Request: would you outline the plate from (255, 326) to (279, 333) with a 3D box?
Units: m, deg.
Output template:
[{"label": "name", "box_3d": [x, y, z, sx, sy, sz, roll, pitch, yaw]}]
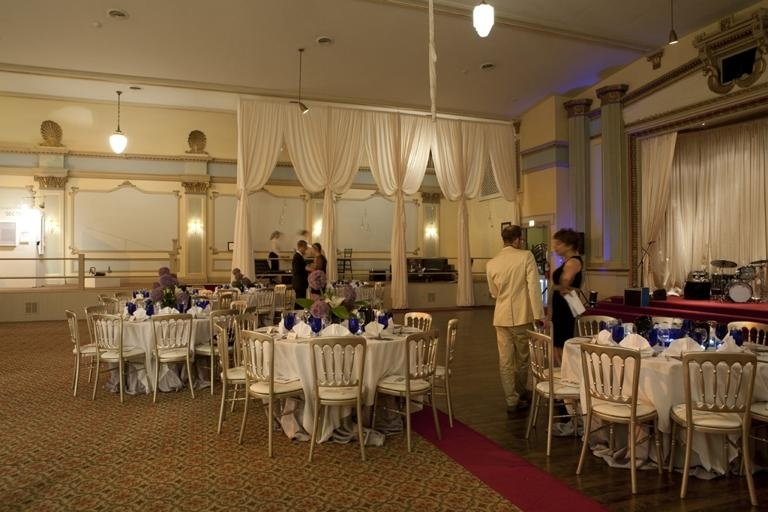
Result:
[{"label": "plate", "box_3d": [-1.529, 0.964, 7.163, 0.180, 0.048, 0.187, -2, -4, 39]}]

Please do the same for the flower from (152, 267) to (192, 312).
[{"label": "flower", "box_3d": [-3.197, 0.532, 8.593, 0.612, 0.671, 0.851, -3, -9, -25]}]

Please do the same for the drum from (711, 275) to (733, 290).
[{"label": "drum", "box_3d": [6.851, 0.502, 11.047, 0.348, 0.286, 0.356, 0, 2, -40]}]

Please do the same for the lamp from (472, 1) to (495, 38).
[{"label": "lamp", "box_3d": [1.366, -3.332, 7.530, 0.252, 0.525, 0.424, -2, 0, 15]}]

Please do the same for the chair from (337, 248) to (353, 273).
[{"label": "chair", "box_3d": [-1.390, 0.136, 19.114, 0.643, 1.169, 0.737, 0, -4, -1]}]

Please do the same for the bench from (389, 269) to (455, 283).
[{"label": "bench", "box_3d": [1.459, 0.589, 16.708, 1.464, 0.369, 1.705, -3, -1, 4]}]

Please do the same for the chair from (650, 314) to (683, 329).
[{"label": "chair", "box_3d": [3.864, 0.891, 7.447, 0.288, 0.260, 0.351, 0, 1, 11]}]

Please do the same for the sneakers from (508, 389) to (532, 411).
[{"label": "sneakers", "box_3d": [1.776, 1.909, 7.221, 0.097, 0.122, 0.376, -30, -9, 19]}]

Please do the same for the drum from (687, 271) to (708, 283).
[{"label": "drum", "box_3d": [6.620, 0.428, 11.443, 0.336, 0.226, 0.335, 0, 1, 0]}]

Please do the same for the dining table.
[{"label": "dining table", "box_3d": [3.112, 1.618, 6.534, 1.486, 0.970, 1.566, 1, -7, -3]}]

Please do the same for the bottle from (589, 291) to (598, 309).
[{"label": "bottle", "box_3d": [3.832, 0.802, 10.003, 0.117, 0.310, 0.924, -2, -1, 23]}]

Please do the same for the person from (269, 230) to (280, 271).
[{"label": "person", "box_3d": [-3.502, -0.125, 17.239, 0.350, 1.285, 1.718, -2, -1, -12]}]

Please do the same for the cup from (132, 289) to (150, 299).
[{"label": "cup", "box_3d": [-4.513, 0.709, 10.082, 0.316, 0.153, 0.330, 2, -2, 0]}]

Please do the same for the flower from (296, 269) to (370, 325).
[{"label": "flower", "box_3d": [-0.737, 0.544, 7.050, 0.694, 0.530, 0.689, -3, 2, -32]}]

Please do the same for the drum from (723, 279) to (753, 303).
[{"label": "drum", "box_3d": [6.554, 0.634, 10.065, 0.369, 0.417, 0.382, 1, -1, 29]}]

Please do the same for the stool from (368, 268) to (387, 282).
[{"label": "stool", "box_3d": [-0.206, 0.600, 17.127, 0.592, 0.351, 0.417, 5, -8, -5]}]

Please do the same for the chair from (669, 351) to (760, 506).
[{"label": "chair", "box_3d": [3.474, 1.771, 5.777, 0.808, 1.655, 0.425, -2, 0, 12]}]
